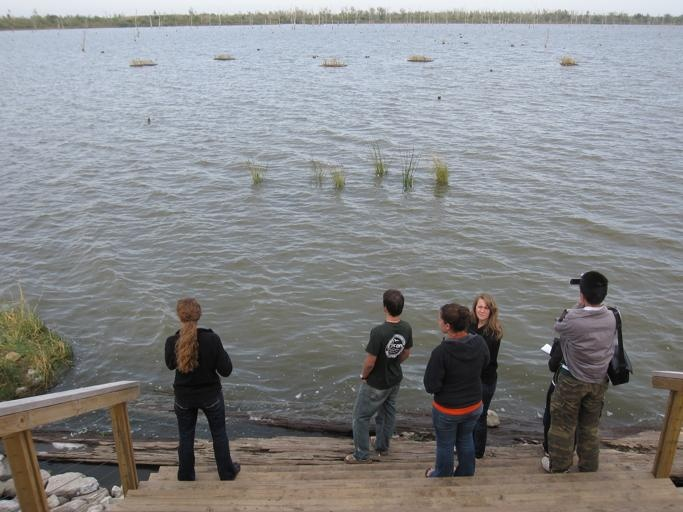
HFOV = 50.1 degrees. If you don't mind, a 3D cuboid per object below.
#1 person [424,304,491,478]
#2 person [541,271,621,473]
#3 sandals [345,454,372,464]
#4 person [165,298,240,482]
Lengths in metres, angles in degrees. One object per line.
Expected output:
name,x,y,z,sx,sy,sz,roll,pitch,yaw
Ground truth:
person,1.558,1.901,10.171,0.766,2.447,0.724,3,17,16
person,3.363,1.632,10.152,0.880,2.773,0.722,1,16,9
sandals,0.239,2.979,10.729,0.353,0.137,0.150,6,6,4
person,-1.954,1.866,10.228,0.852,2.510,0.657,-4,16,-9
